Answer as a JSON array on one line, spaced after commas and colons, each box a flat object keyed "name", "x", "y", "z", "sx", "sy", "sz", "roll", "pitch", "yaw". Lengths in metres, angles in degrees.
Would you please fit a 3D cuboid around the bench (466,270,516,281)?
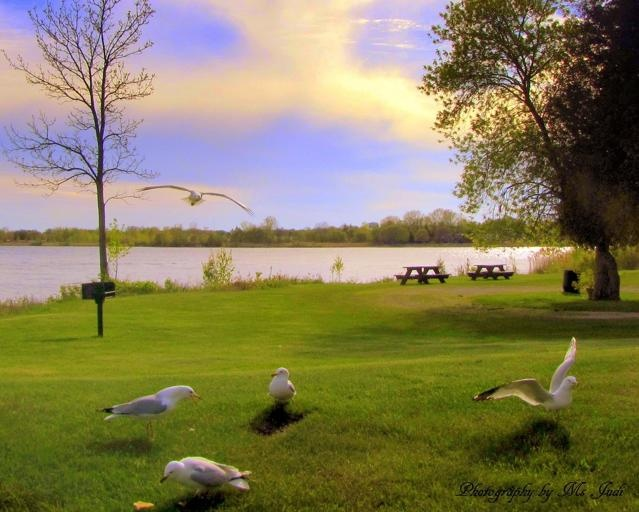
[{"name": "bench", "x": 10.392, "y": 1.163, "z": 58.129, "sx": 2.600, "sy": 0.498, "sz": 3.516, "roll": -2, "pitch": 0, "yaw": 9}]

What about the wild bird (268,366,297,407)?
[{"name": "wild bird", "x": -1.021, "y": 3.628, "z": 26.880, "sx": 0.802, "sy": 1.029, "sz": 1.259, "roll": -5, "pitch": -3, "yaw": 15}]
